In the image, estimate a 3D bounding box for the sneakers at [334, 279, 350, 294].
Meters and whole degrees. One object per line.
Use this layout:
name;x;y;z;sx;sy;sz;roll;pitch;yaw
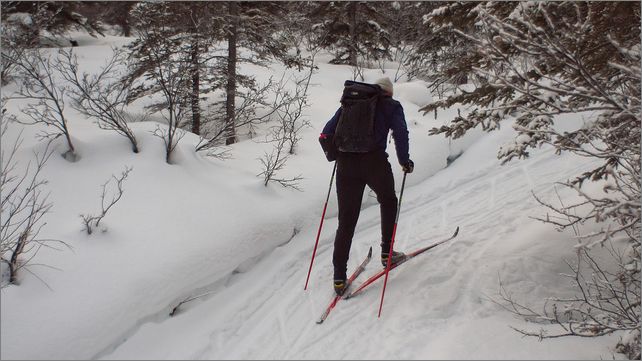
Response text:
sneakers;0.416;2.104;9.931;0.144;0.282;0.426;6;22;22
